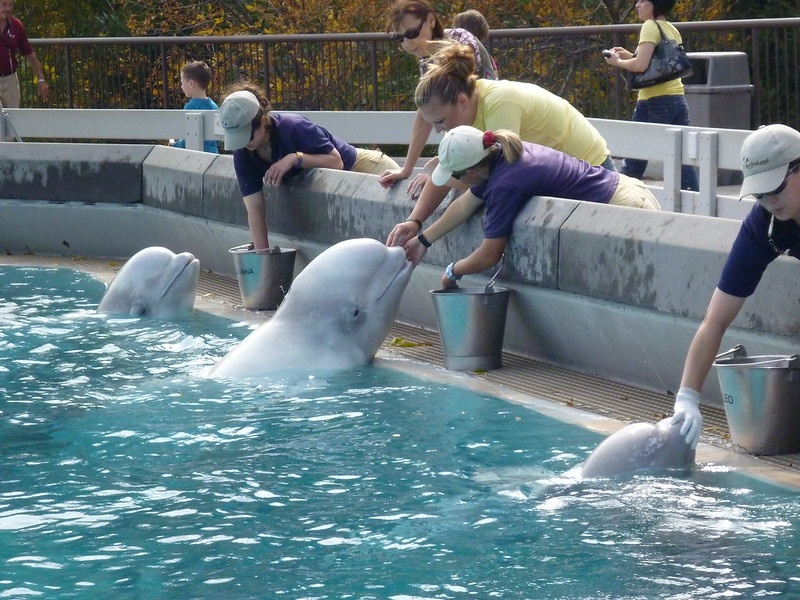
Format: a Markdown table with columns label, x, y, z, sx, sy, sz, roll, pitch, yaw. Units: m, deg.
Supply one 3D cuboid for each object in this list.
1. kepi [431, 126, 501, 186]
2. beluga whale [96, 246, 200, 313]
| label | x | y | z | sx | sy | sz | roll | pitch | yaw |
| --- | --- | --- | --- | --- | --- | --- | --- | --- | --- |
| kepi | 0.369 | -0.820 | 6.136 | 0.249 | 0.325 | 0.285 | -15 | 22 | -41 |
| beluga whale | -1.736 | -0.123 | 7.715 | 0.688 | 0.462 | 0.326 | -1 | 7 | -11 |
